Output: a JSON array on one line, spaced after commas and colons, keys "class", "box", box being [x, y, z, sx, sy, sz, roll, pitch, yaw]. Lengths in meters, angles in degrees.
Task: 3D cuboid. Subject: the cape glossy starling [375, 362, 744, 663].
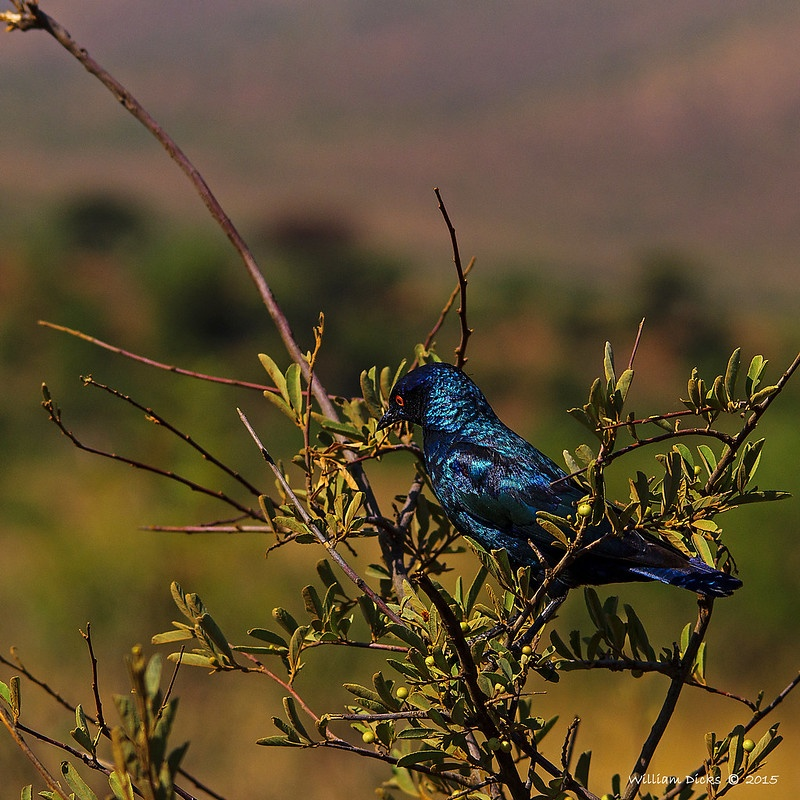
[{"class": "cape glossy starling", "box": [0.544, 0.340, 5.809, 1.374, 0.954, 0.469, 2, 9, 10]}]
